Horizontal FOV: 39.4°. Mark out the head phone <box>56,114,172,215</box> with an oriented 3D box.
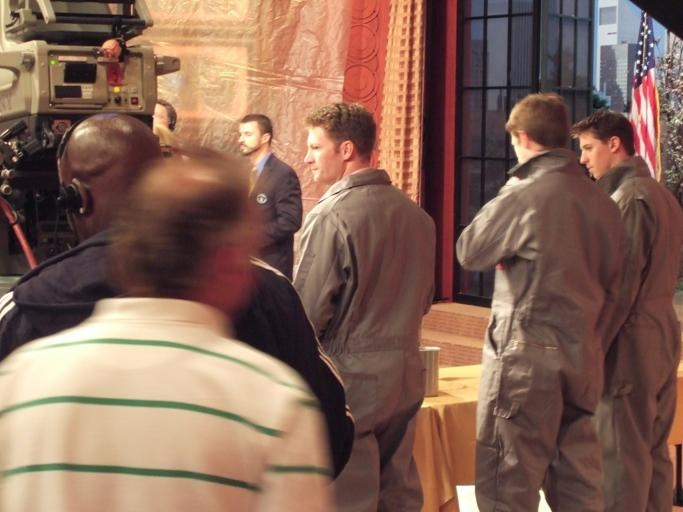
[{"bbox_3d":[-0.504,-0.220,2.069,0.202,0.227,0.206,-8,28,-39],"label":"head phone"}]
